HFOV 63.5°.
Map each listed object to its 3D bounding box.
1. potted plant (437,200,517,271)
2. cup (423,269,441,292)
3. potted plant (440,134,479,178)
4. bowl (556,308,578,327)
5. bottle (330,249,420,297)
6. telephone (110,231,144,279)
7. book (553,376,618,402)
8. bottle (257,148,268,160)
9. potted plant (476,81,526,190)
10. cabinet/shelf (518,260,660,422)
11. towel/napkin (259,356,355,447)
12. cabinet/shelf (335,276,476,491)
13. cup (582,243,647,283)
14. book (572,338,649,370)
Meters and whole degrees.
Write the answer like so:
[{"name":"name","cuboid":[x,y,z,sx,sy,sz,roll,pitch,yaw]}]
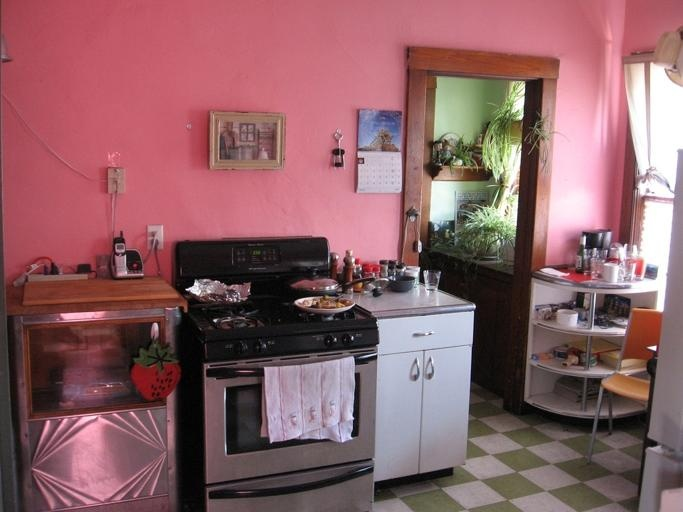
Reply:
[{"name":"potted plant","cuboid":[1.148,-0.169,4.538,0.516,0.338,0.536,5,9,24]},{"name":"cup","cuboid":[0.587,0.161,3.596,0.133,0.143,0.131,0,2,0]},{"name":"potted plant","cuboid":[1.094,-0.888,4.917,0.418,0.295,0.294,8,3,-8]},{"name":"bowl","cuboid":[1.613,0.441,3.939,0.099,0.088,0.132,-4,7,-39]},{"name":"bottle","cuboid":[0.251,0.139,3.489,0.390,0.175,0.303,-6,12,-27]},{"name":"telephone","cuboid":[-1.201,-0.002,3.127,0.173,0.238,0.135,-3,7,-30]},{"name":"book","cuboid":[1.777,0.970,3.989,0.257,0.071,0.280,-4,8,-32]},{"name":"bottle","cuboid":[-0.470,-0.619,3.348,0.063,0.061,0.064,0,2,-24]},{"name":"potted plant","cuboid":[1.403,-1.073,4.841,0.326,0.897,0.552,3,14,14]},{"name":"cabinet/shelf","cuboid":[1.692,0.583,4.241,1.050,1.217,0.978,-2,7,-16]},{"name":"towel/napkin","cuboid":[-0.141,0.763,2.806,0.488,0.444,0.102,-13,-19,19]},{"name":"cabinet/shelf","cuboid":[0.468,0.650,3.496,0.620,0.845,0.602,-7,20,-11]},{"name":"cup","cuboid":[1.973,0.050,3.956,0.412,0.277,0.253,-5,11,-13]},{"name":"book","cuboid":[1.964,0.718,4.031,0.263,0.062,0.267,13,14,39]}]
